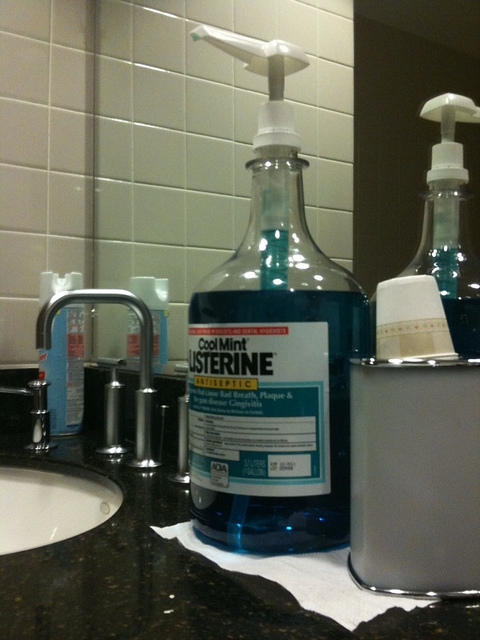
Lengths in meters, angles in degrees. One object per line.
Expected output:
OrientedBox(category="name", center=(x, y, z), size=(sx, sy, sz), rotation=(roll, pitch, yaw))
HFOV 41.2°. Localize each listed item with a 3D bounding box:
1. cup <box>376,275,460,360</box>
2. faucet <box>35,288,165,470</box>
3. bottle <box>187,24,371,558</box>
OrientedBox(category="cup", center=(0.098, 0.002, 0.353), size=(0.039, 0.046, 0.039), rotation=(1, -9, 0))
OrientedBox(category="faucet", center=(-0.144, 0.063, 0.693), size=(0.131, 0.207, 0.056), rotation=(-2, 20, -13))
OrientedBox(category="bottle", center=(0.024, 0.001, 0.411), size=(0.123, 0.303, 0.082), rotation=(-3, 0, -6))
